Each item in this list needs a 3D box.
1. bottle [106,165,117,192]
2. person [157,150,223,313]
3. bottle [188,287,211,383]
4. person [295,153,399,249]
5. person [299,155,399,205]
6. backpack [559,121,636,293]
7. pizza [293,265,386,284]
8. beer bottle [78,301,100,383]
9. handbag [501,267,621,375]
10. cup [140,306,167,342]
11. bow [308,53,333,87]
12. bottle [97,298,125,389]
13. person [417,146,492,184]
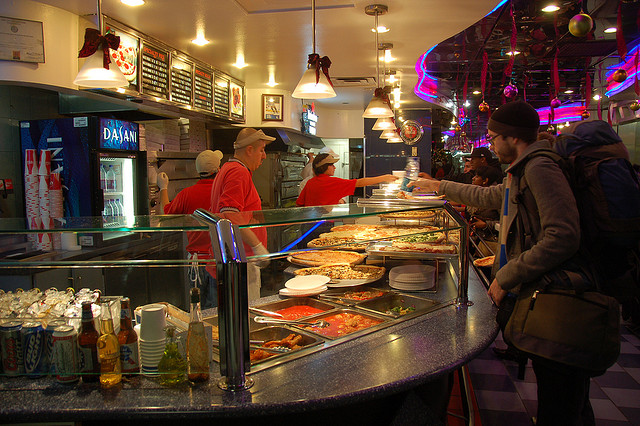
[{"bbox_3d":[-2.295,-0.393,5.338,0.060,0.296,0.259,-4,5,-12],"label":"bottle"},{"bbox_3d":[-1.134,0.451,4.848,0.885,2.152,0.659,-2,8,-14],"label":"person"},{"bbox_3d":[-0.627,0.633,2.530,0.091,0.497,0.120,-1,6,27],"label":"bottle"},{"bbox_3d":[0.255,0.107,5.971,1.291,1.748,0.604,6,10,30],"label":"person"},{"bbox_3d":[0.280,-0.430,5.866,0.783,0.618,1.417,-5,6,-27],"label":"person"},{"bbox_3d":[1.716,-0.048,2.987,0.397,1.059,0.337,-1,6,24],"label":"backpack"},{"bbox_3d":[0.178,0.451,3.613,0.691,0.114,0.253,-5,5,-24],"label":"pizza"},{"bbox_3d":[-1.210,0.678,2.559,0.139,0.418,0.117,-3,7,-2],"label":"beer bottle"},{"bbox_3d":[1.407,0.600,2.793,0.627,0.547,0.315,11,-17,20],"label":"handbag"},{"bbox_3d":[-0.890,0.591,2.604,0.164,0.173,0.191,0,6,-7],"label":"cup"},{"bbox_3d":[0.016,-1.215,4.097,0.147,0.291,0.323,-2,5,14],"label":"bow"},{"bbox_3d":[-1.100,0.678,2.508,0.138,0.448,0.080,-5,5,-17],"label":"bottle"},{"bbox_3d":[2.068,-0.840,8.367,1.657,0.527,1.164,-6,7,10],"label":"person"}]
